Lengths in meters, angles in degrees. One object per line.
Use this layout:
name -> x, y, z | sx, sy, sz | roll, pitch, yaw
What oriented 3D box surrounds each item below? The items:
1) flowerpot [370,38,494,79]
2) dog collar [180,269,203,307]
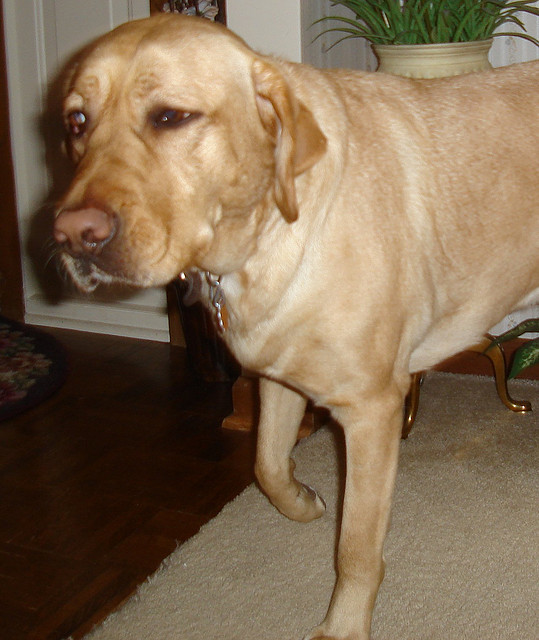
flowerpot -> 0.440, -0.709, 1.813 | 0.360, 0.116, 0.298 | -8, 21, -11
dog collar -> -0.138, -0.060, 1.195 | 0.019, 0.054, 0.048 | -18, 22, -41
